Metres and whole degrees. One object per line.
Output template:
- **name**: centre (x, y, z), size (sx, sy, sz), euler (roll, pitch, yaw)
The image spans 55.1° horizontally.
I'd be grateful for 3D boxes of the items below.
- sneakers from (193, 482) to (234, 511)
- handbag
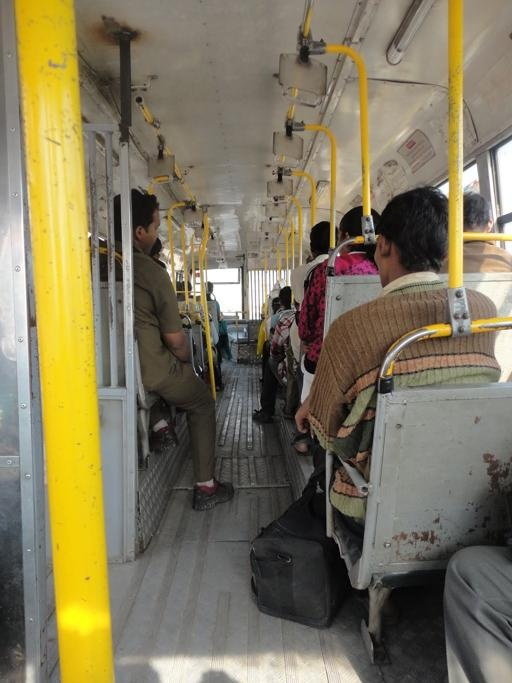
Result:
- **sneakers**: centre (-0.260, 0.919, 2.961), size (0.110, 0.133, 0.253), euler (2, 8, 37)
- **handbag**: centre (0.224, 0.812, 2.085), size (0.311, 0.470, 0.612), euler (1, 8, 23)
